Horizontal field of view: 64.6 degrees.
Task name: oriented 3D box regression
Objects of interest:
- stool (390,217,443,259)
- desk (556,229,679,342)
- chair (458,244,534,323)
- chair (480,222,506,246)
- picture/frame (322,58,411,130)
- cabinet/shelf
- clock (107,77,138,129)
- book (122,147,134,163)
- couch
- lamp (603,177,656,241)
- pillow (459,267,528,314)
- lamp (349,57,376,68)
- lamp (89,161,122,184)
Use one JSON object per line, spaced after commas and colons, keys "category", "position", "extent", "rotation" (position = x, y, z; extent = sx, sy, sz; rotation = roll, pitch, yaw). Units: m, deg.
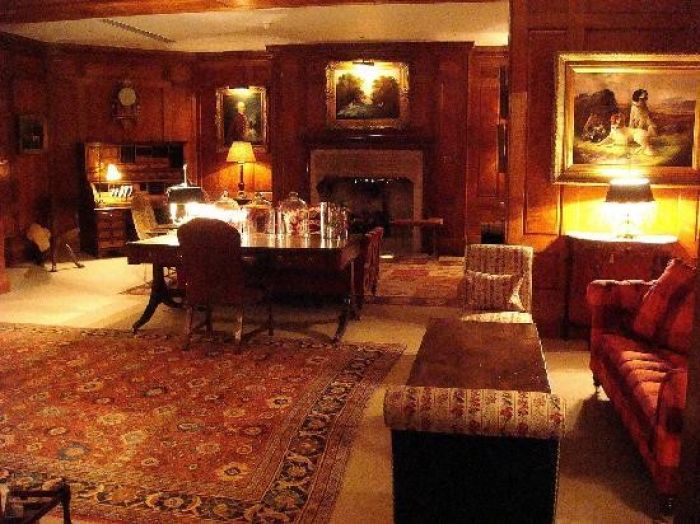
{"category": "stool", "position": [1.268, -0.442, 10.007], "extent": [0.922, 0.594, 0.828], "rotation": [1, 8, 12]}
{"category": "desk", "position": [2.282, 0.167, 4.655], "extent": [1.204, 0.995, 0.719], "rotation": [0, 6, 4]}
{"category": "chair", "position": [1.243, 0.194, 4.699], "extent": [0.758, 0.671, 0.705], "rotation": [2, 7, 17]}
{"category": "chair", "position": [1.784, -0.357, 6.904], "extent": [0.341, 0.277, 0.323], "rotation": [0, 5, 9]}
{"category": "picture/frame", "position": [0.376, -3.153, 10.225], "extent": [1.587, 1.109, 0.084], "rotation": [0, 4, 5]}
{"category": "cabinet/shelf", "position": [-3.767, -1.038, 9.208], "extent": [0.890, 2.127, 2.443], "rotation": [9, 14, 43]}
{"category": "clock", "position": [-4.395, -3.071, 10.740], "extent": [0.537, 0.935, 0.214], "rotation": [-6, 14, -25]}
{"category": "book", "position": [-4.231, -2.026, 10.473], "extent": [0.309, 0.249, 0.070], "rotation": [2, 2, -23]}
{"category": "couch", "position": [1.674, 0.758, 3.214], "extent": [0.408, 0.601, 1.190], "rotation": [5, 18, 18]}
{"category": "lamp", "position": [2.646, -0.502, 5.173], "extent": [0.473, 0.570, 0.478], "rotation": [8, 30, 37]}
{"category": "pillow", "position": [1.213, 0.262, 4.692], "extent": [0.509, 0.294, 0.308], "rotation": [2, 12, 10]}
{"category": "lamp", "position": [0.260, -3.655, 10.119], "extent": [0.441, 0.152, 0.215], "rotation": [0, 12, -1]}
{"category": "lamp", "position": [-4.529, -1.649, 10.181], "extent": [0.450, 0.452, 0.369], "rotation": [-3, 20, -18]}
